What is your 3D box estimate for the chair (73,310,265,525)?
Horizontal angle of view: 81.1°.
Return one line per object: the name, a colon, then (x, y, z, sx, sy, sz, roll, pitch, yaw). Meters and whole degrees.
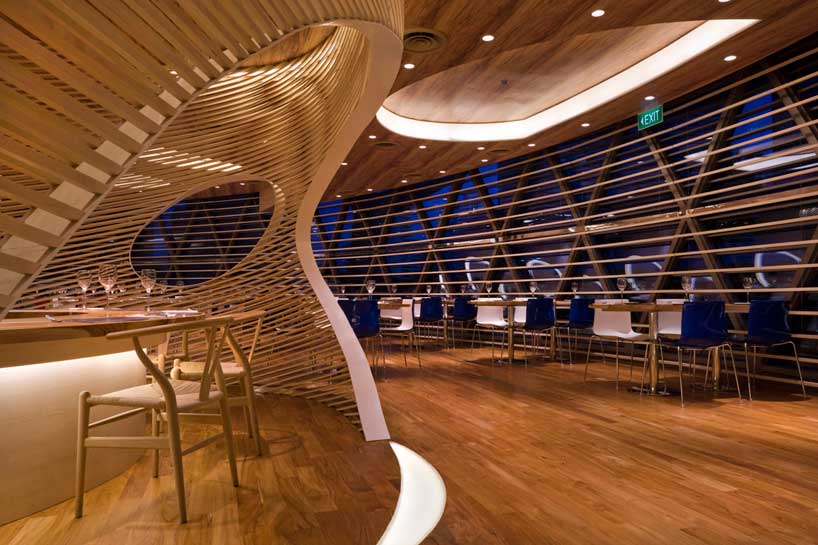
chair: (-1.565, 0.850, 3.231, 1.085, 1.149, 1.233, -1, 4, -12)
